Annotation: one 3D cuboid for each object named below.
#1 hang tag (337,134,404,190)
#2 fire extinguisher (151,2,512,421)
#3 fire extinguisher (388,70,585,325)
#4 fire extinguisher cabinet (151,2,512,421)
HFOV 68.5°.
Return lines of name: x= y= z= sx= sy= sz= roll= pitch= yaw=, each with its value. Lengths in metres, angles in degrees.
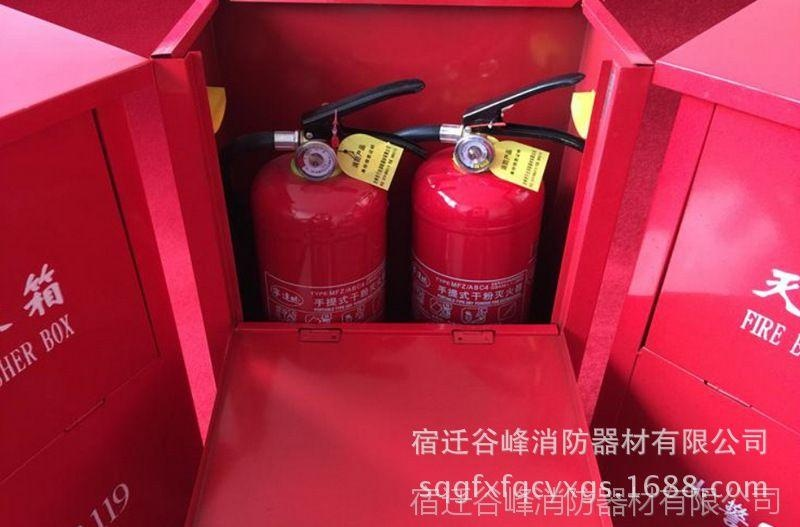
hang tag: x=-0.060 y=-0.211 z=1.203 sx=0.128 sy=0.094 sz=0.037 roll=14 pitch=0 yaw=-4
fire extinguisher: x=-0.206 y=-0.073 z=1.341 sx=0.500 sy=1.052 sz=0.449 roll=-3 pitch=37 yaw=-13
fire extinguisher: x=0.193 y=-0.158 z=1.259 sx=0.460 sy=0.581 sz=0.331 roll=-3 pitch=33 yaw=-5
fire extinguisher cabinet: x=-0.190 y=-0.079 z=1.274 sx=0.500 sy=1.052 sz=0.449 roll=-3 pitch=37 yaw=-13
